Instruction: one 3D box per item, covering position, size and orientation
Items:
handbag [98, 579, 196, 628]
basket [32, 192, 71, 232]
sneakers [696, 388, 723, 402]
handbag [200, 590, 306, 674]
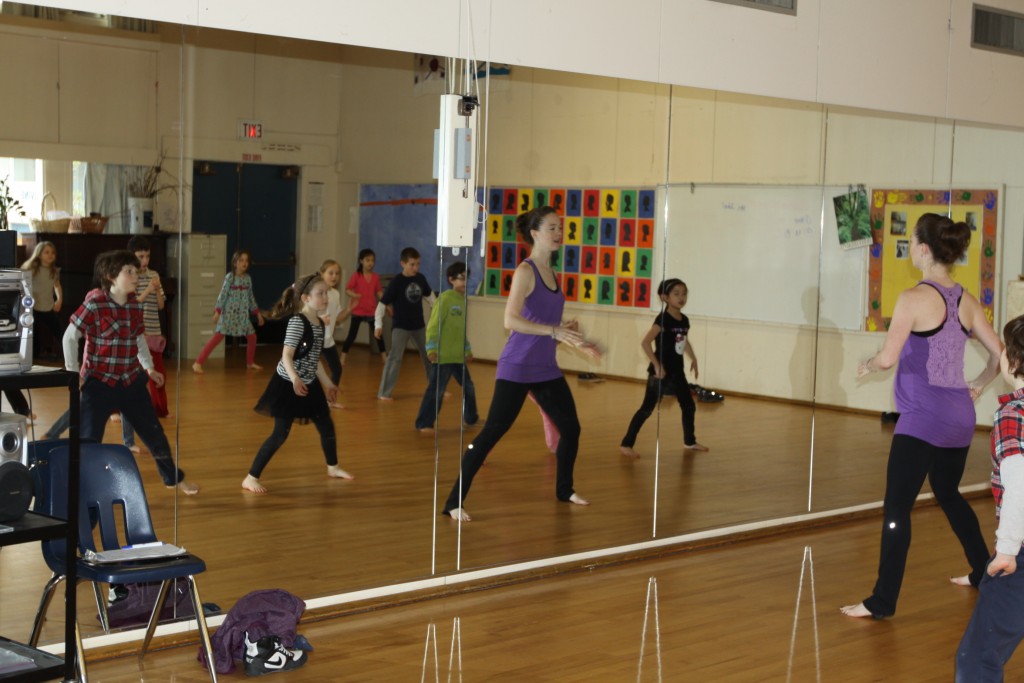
[{"bbox_3d":[-1.826,1.329,4.097,0.449,0.149,0.350,-1,4,-20],"label":"handbag"},{"bbox_3d":[-2.166,-0.603,3.800,0.176,0.190,0.125,1,3,25],"label":"basket"},{"bbox_3d":[1.363,0.386,5.671,0.197,0.099,0.076,11,9,-7],"label":"sneakers"},{"bbox_3d":[-1.237,1.417,3.946,0.372,0.149,0.323,1,30,9],"label":"handbag"}]
